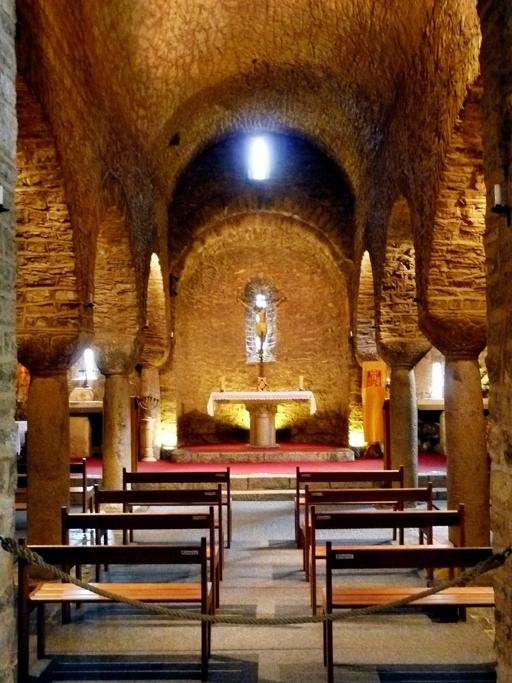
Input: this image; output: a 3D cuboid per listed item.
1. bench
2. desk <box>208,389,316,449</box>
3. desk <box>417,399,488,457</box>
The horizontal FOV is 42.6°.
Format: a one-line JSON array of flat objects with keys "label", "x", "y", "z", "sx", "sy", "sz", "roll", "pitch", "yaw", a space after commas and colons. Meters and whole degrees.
[{"label": "bench", "x": -0.019, "y": 1.505, "z": 4.006, "sx": 2.586, "sy": 0.846, "sz": 1.598, "roll": -1, "pitch": -12, "yaw": -1}, {"label": "desk", "x": 0.103, "y": 1.373, "z": 11.926, "sx": 1.804, "sy": 1.118, "sz": 1.457, "roll": -1, "pitch": -12, "yaw": 1}, {"label": "desk", "x": 3.808, "y": 1.785, "z": 13.313, "sx": 1.004, "sy": 0.956, "sz": 0.720, "roll": 19, "pitch": -10, "yaw": -32}]
